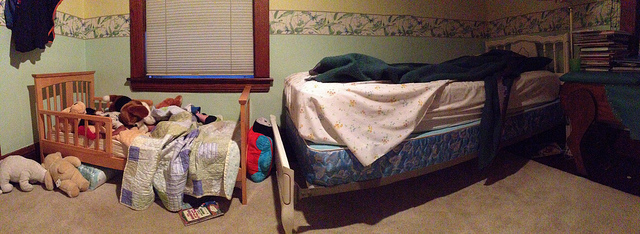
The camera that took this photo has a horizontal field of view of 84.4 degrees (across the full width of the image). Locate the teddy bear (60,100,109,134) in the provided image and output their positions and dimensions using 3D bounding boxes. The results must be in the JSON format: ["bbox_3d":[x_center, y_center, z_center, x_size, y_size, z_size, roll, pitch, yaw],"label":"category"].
[{"bbox_3d":[-4.567,0.011,6.919,0.829,0.187,0.772,-14,46,-40],"label":"teddy bear"}]

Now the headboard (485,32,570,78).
[{"bbox_3d":[4.296,-1.207,7.401,0.143,1.015,1.694,-22,17,-27],"label":"headboard"}]

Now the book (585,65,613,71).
[{"bbox_3d":[5.140,-0.905,6.539,0.395,0.101,0.083,5,19,21],"label":"book"}]

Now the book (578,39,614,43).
[{"bbox_3d":[5.105,-1.397,6.563,0.533,0.058,0.118,2,16,13],"label":"book"}]

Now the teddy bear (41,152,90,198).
[{"bbox_3d":[-4.686,1.052,6.489,0.877,0.692,0.504,9,21,31],"label":"teddy bear"}]

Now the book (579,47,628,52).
[{"bbox_3d":[5.265,-1.243,6.538,0.321,0.044,0.270,-1,3,-16],"label":"book"}]

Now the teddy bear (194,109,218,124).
[{"bbox_3d":[-2.313,0.004,7.104,0.453,0.239,0.222,4,18,17],"label":"teddy bear"}]

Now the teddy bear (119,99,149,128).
[{"bbox_3d":[-3.558,-0.055,6.795,0.430,0.469,0.435,15,24,41],"label":"teddy bear"}]

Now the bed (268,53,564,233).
[{"bbox_3d":[1.828,0.099,6.898,5.489,1.613,3.288,-6,12,-13],"label":"bed"}]
